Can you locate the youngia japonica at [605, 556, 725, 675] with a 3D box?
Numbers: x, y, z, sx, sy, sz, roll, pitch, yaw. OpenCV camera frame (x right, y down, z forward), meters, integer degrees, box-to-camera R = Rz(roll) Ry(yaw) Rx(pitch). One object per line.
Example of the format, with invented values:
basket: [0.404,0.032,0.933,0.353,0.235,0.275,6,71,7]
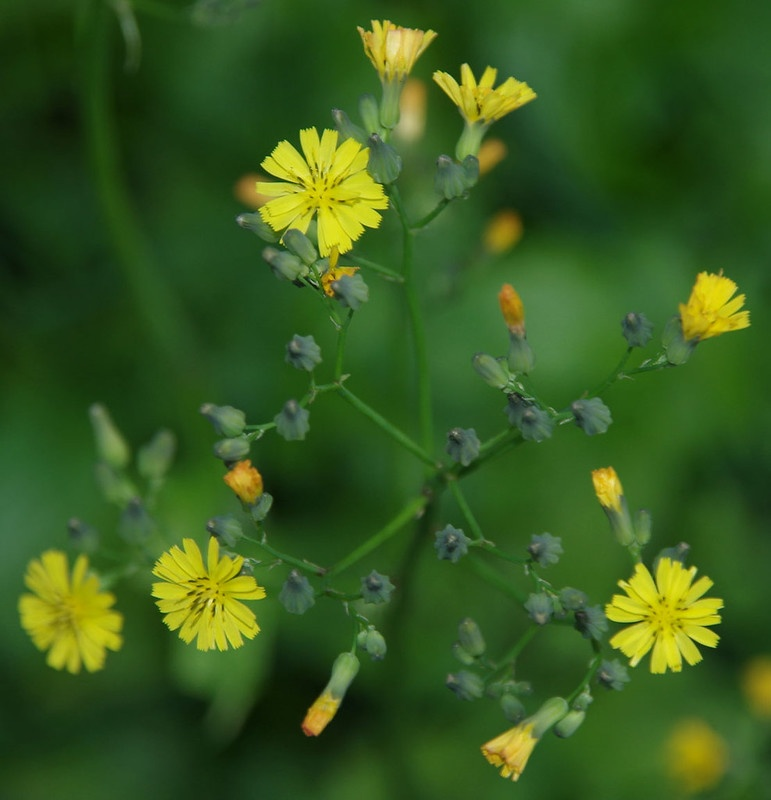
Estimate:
youngia japonica: [0.587,0.463,1.880,0.250,0.186,0.204,-7,-41,1]

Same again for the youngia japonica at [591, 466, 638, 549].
youngia japonica: [0.500,0.227,1.938,0.059,0.206,0.064,-14,-19,-12]

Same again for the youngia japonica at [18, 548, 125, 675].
youngia japonica: [-0.728,0.483,2.031,0.236,0.224,0.202,-22,-43,17]

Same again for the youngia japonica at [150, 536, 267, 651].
youngia japonica: [-0.373,0.403,1.865,0.214,0.190,0.212,26,-51,-31]

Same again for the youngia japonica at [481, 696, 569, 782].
youngia japonica: [0.299,0.708,1.915,0.212,0.121,0.131,-38,-44,-24]

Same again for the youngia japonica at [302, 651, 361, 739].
youngia japonica: [-0.120,0.642,1.888,0.106,0.140,0.172,3,-43,-10]
